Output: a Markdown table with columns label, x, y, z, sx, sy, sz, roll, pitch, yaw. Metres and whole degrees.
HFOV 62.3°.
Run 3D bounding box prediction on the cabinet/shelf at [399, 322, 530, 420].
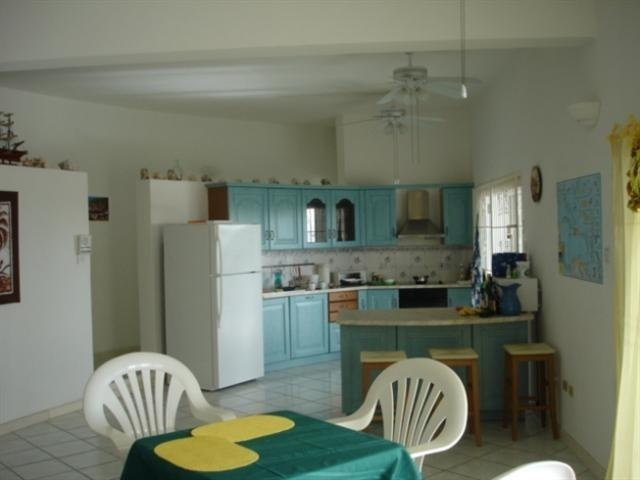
| label | x | y | z | sx | sy | sz | roll | pitch | yaw |
| --- | --- | --- | --- | --- | --- | --- | --- | --- | --- |
| cabinet/shelf | 1.392 | 1.078 | 5.453 | 1.207 | 1.184 | 0.904 | -1 | -1 | -4 |

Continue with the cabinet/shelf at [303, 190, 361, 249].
| label | x | y | z | sx | sy | sz | roll | pitch | yaw |
| --- | --- | --- | --- | --- | --- | --- | --- | --- | --- |
| cabinet/shelf | 0.138 | -0.327 | 7.748 | 0.828 | 0.793 | 0.344 | -1 | 1 | -29 |

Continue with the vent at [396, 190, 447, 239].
| label | x | y | z | sx | sy | sz | roll | pitch | yaw |
| --- | --- | --- | --- | --- | --- | --- | --- | --- | --- |
| vent | 1.529 | -0.403 | 8.296 | 0.704 | 0.835 | 0.740 | 0 | -1 | 0 |

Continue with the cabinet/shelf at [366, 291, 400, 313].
| label | x | y | z | sx | sy | sz | roll | pitch | yaw |
| --- | --- | --- | --- | --- | --- | --- | --- | --- | --- |
| cabinet/shelf | 0.899 | 0.850 | 7.669 | 0.418 | 0.402 | 0.258 | 0 | -1 | -5 |

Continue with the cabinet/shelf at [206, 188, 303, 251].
| label | x | y | z | sx | sy | sz | roll | pitch | yaw |
| --- | --- | --- | --- | --- | --- | --- | --- | --- | --- |
| cabinet/shelf | -0.917 | -0.290 | 6.972 | 0.858 | 0.644 | 0.326 | -1 | 0 | -40 |

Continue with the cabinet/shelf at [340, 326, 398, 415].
| label | x | y | z | sx | sy | sz | roll | pitch | yaw |
| --- | --- | --- | --- | --- | --- | --- | --- | --- | --- |
| cabinet/shelf | 0.383 | 1.256 | 5.536 | 0.736 | 1.142 | 0.757 | 0 | 0 | 0 |

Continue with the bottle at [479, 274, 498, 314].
| label | x | y | z | sx | sy | sz | roll | pitch | yaw |
| --- | --- | --- | --- | --- | --- | --- | --- | --- | --- |
| bottle | 1.675 | 0.542 | 5.259 | 0.179 | 0.393 | 0.244 | -2 | -1 | 18 |

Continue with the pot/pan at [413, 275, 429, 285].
| label | x | y | z | sx | sy | sz | roll | pitch | yaw |
| --- | --- | --- | --- | --- | --- | --- | --- | --- | --- |
| pot/pan | 1.532 | 0.597 | 8.042 | 0.199 | 0.125 | 0.575 | -2 | -1 | 14 |
